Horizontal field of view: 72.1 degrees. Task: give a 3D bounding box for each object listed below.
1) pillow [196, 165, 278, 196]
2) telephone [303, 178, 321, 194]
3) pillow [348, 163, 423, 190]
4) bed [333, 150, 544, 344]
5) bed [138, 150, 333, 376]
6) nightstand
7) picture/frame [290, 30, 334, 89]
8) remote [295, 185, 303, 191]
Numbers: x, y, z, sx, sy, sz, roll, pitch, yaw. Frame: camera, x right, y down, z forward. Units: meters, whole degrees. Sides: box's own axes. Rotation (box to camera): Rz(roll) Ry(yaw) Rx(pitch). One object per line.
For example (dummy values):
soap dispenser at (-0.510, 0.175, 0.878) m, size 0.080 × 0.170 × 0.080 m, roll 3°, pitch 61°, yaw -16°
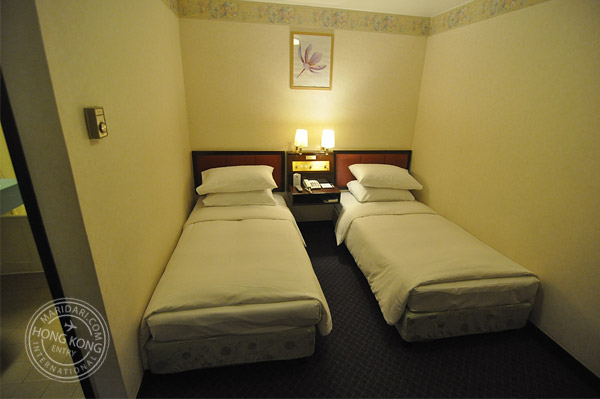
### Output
pillow at (-0.846, -0.316, 5.378) m, size 0.721 × 0.200 × 0.449 m, roll -4°, pitch 40°, yaw -5°
telephone at (0.168, -0.196, 5.724) m, size 0.165 × 0.070 × 0.230 m, roll 1°, pitch 37°, yaw -8°
pillow at (1.179, -0.313, 5.634) m, size 0.505 × 0.161 × 0.537 m, roll 0°, pitch 17°, yaw -8°
bed at (1.425, 0.571, 4.845) m, size 1.529 × 1.125 × 2.031 m, roll -8°, pitch 21°, yaw -14°
bed at (-0.793, 0.454, 5.032) m, size 1.779 × 1.450 × 3.019 m, roll -5°, pitch 21°, yaw -7°
nightstand at (0.163, -0.281, 5.787) m, size 0.695 × 0.675 × 0.560 m, roll -2°, pitch 16°, yaw -6°
picture/frame at (0.144, -1.904, 5.518) m, size 0.771 × 0.847 × 0.037 m, roll -1°, pitch 24°, yaw -10°
remote at (-0.009, -0.151, 5.662) m, size 0.062 × 0.037 × 0.146 m, roll -6°, pitch 32°, yaw -11°
